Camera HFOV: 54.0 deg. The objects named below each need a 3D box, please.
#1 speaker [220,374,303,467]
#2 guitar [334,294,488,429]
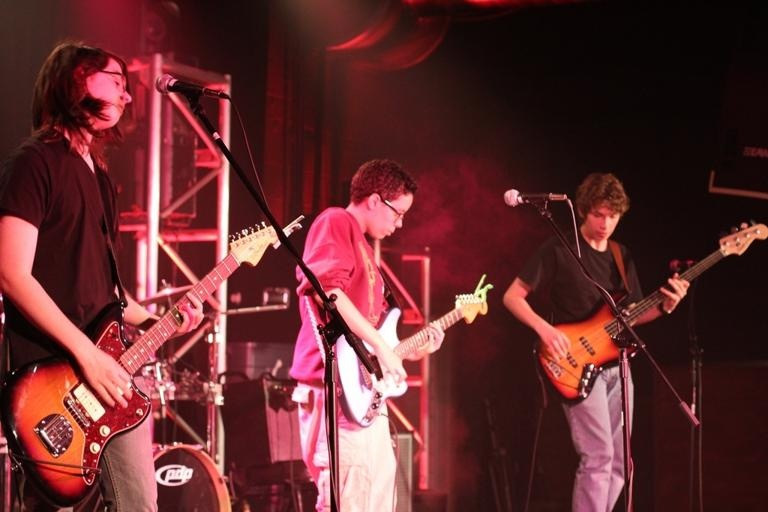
[{"bbox_3d":[-1.037,1.474,6.531,0.564,0.732,0.772,-7,-13,13],"label":"speaker"},{"bbox_3d":[0.214,0.563,5.425,1.364,0.209,0.558,-29,-5,18],"label":"guitar"}]
